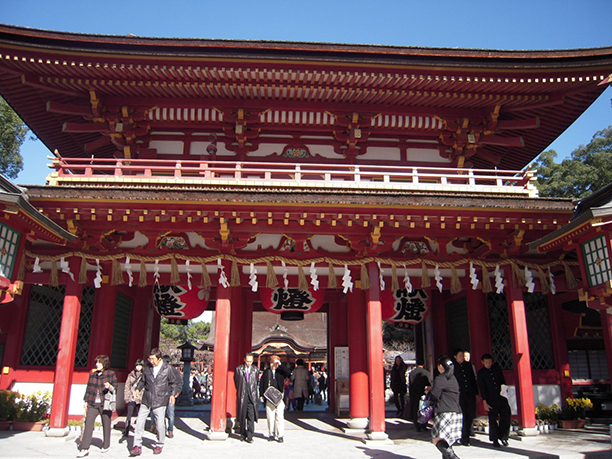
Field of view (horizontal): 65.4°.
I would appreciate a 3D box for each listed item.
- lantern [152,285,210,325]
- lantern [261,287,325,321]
[{"bbox_3d":[-3.658,2.157,13.954,1.525,1.242,1.228,4,-9,-19],"label":"lantern"},{"bbox_3d":[-0.365,1.932,13.211,1.723,0.596,0.525,-1,-22,4],"label":"lantern"}]
